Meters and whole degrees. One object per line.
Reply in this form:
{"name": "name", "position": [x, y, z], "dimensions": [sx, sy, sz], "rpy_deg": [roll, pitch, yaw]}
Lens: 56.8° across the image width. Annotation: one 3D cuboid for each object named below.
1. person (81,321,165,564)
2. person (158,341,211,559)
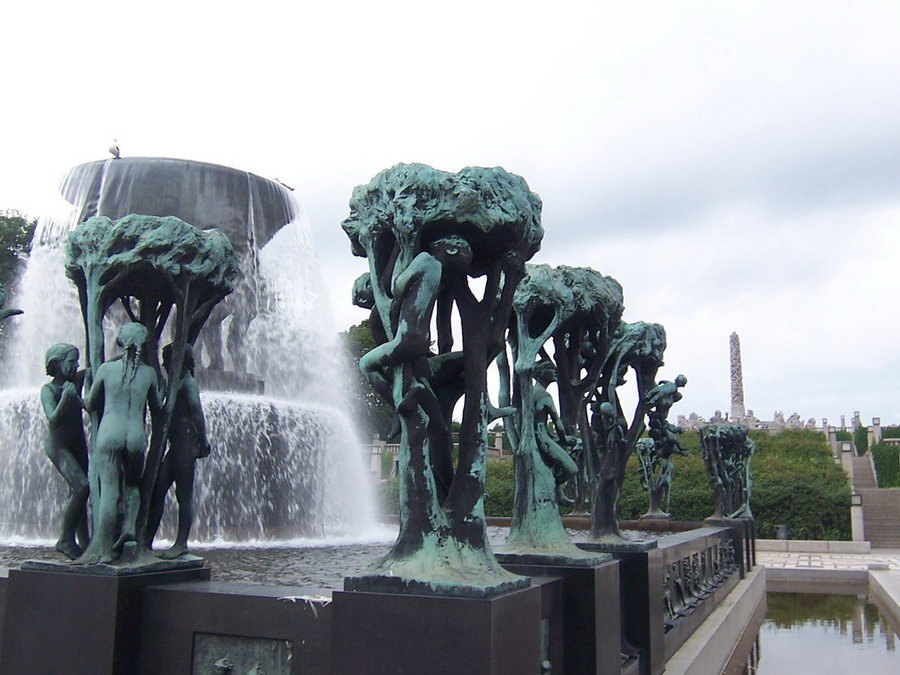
{"name": "person", "position": [-2.757, 0.888, 7.010], "dimensions": [0.610, 1.968, 0.404], "rpy_deg": [2, -11, -22]}
{"name": "person", "position": [-2.424, 1.058, 7.565], "dimensions": [0.399, 1.815, 0.405], "rpy_deg": [-1, -11, -10]}
